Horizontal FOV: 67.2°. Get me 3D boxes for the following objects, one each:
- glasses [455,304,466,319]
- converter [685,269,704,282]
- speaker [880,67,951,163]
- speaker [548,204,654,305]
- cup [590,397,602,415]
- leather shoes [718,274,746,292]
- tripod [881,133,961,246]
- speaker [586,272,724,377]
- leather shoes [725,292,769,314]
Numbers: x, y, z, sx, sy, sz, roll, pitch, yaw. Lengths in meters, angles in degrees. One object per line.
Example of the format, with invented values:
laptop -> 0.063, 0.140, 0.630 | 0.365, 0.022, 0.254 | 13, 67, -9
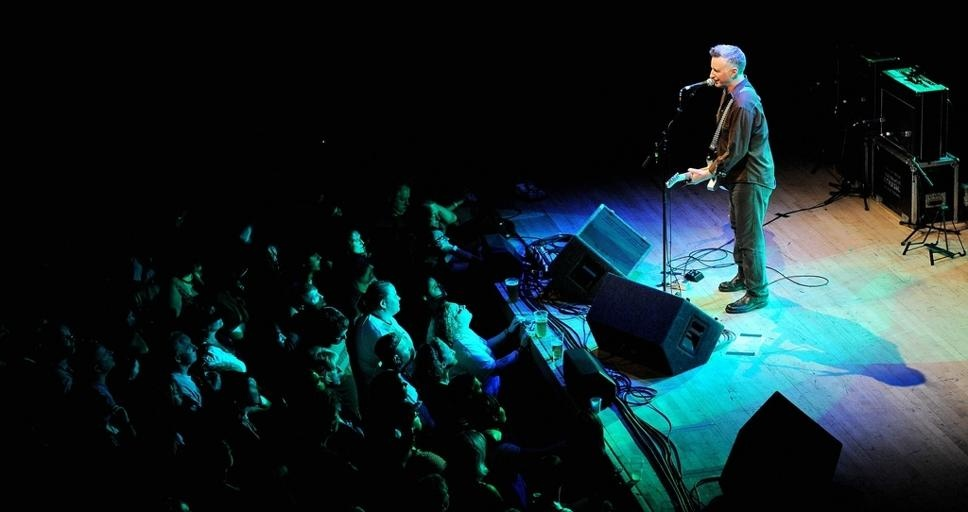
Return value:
glasses -> -0.286, 0.637, 8.620 | 0.099, 0.148, 0.261 | -14, -4, 6
converter -> 2.655, 0.247, 9.257 | 0.175, 0.087, 0.171 | 18, 46, 30
speaker -> 5.671, -1.817, 9.630 | 0.643, 1.063, 1.221 | -4, 13, -14
speaker -> 1.463, 0.014, 9.150 | 0.993, 0.979, 0.684 | -40, 1, -11
cup -> 1.192, 1.591, 7.852 | 0.169, 0.164, 0.157 | -2, 2, 0
leather shoes -> 3.076, 0.341, 9.031 | 0.396, 0.211, 0.146 | 3, 8, 18
tripod -> 5.743, -0.850, 9.550 | 0.866, 0.891, 1.240 | -9, 23, -8
speaker -> 1.927, 0.569, 8.244 | 1.290, 0.991, 1.486 | -20, 29, -38
leather shoes -> 3.136, 0.556, 8.743 | 0.595, 0.217, 0.200 | -5, 14, -7
